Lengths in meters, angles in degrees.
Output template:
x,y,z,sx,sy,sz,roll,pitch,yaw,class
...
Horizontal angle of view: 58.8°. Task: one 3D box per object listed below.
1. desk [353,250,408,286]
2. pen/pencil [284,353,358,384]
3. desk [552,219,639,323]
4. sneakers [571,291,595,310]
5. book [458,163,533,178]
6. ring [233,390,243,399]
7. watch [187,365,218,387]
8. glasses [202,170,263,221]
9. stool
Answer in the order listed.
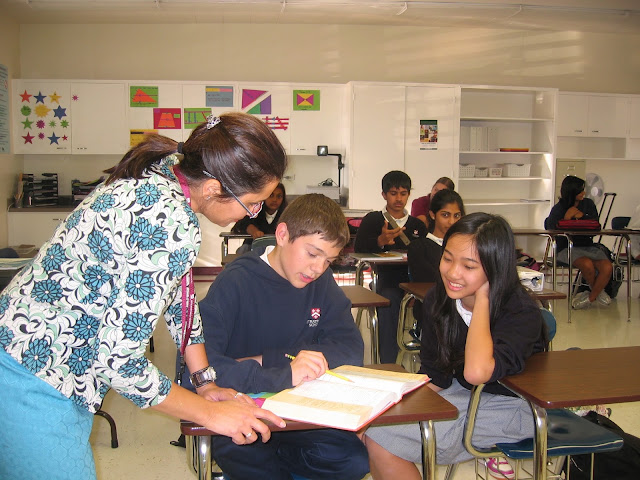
x,y,z,sx,sy,sz,roll,pitch,yaw,class
0.420,0.148,3.873,0.286,0.262,0.277,-2,8,-14,desk
-0.004,0.408,1.788,0.201,0.014,0.016,20,31,22,pen/pencil
2.804,0.113,5.687,1.015,0.923,0.980,5,25,20,desk
2.617,0.586,5.649,0.169,0.140,0.366,8,11,24,sneakers
2.195,-0.880,7.127,0.982,0.215,0.333,0,10,-17,book
-0.237,0.448,1.639,0.028,0.011,0.038,2,-2,8,ring
-0.343,0.404,1.663,0.073,0.043,0.072,-9,-16,-18,watch
-0.233,-0.119,1.571,0.035,0.126,0.120,-43,7,-15,glasses
0.882,0.697,2.113,0.268,0.427,0.293,-1,-4,-11,stool
